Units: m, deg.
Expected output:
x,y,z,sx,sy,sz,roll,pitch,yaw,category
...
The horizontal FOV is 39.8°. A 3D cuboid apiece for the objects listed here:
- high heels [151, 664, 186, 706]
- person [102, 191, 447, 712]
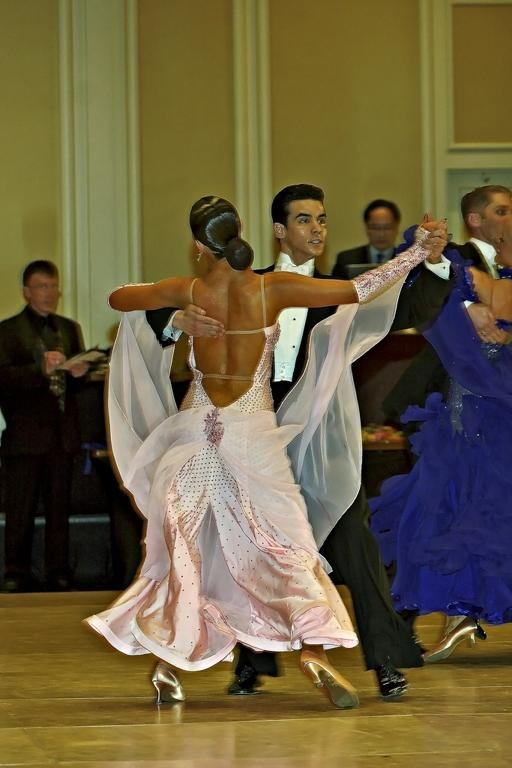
x,y,z,sx,sy,sz,roll,pitch,yaw,category
-0.231,0.776,1.826,0.073,0.114,0.052,-32,22,-31,high heels
-0.007,0.185,1.811,0.881,1.331,0.732,-5,8,12,person
